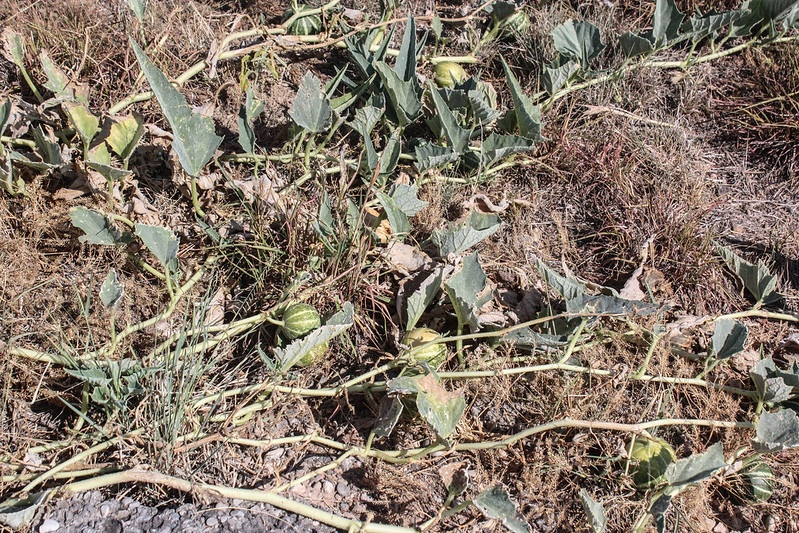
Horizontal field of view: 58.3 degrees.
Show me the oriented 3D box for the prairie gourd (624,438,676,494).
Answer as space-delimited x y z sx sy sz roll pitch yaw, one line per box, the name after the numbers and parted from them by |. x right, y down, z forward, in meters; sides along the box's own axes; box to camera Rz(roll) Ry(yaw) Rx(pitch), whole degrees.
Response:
1.128 0.871 3.194 0.196 0.129 0.203 6 57 7 | prairie gourd

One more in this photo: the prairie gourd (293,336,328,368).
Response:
-0.402 0.402 3.264 0.131 0.110 0.079 -29 84 -7 | prairie gourd
